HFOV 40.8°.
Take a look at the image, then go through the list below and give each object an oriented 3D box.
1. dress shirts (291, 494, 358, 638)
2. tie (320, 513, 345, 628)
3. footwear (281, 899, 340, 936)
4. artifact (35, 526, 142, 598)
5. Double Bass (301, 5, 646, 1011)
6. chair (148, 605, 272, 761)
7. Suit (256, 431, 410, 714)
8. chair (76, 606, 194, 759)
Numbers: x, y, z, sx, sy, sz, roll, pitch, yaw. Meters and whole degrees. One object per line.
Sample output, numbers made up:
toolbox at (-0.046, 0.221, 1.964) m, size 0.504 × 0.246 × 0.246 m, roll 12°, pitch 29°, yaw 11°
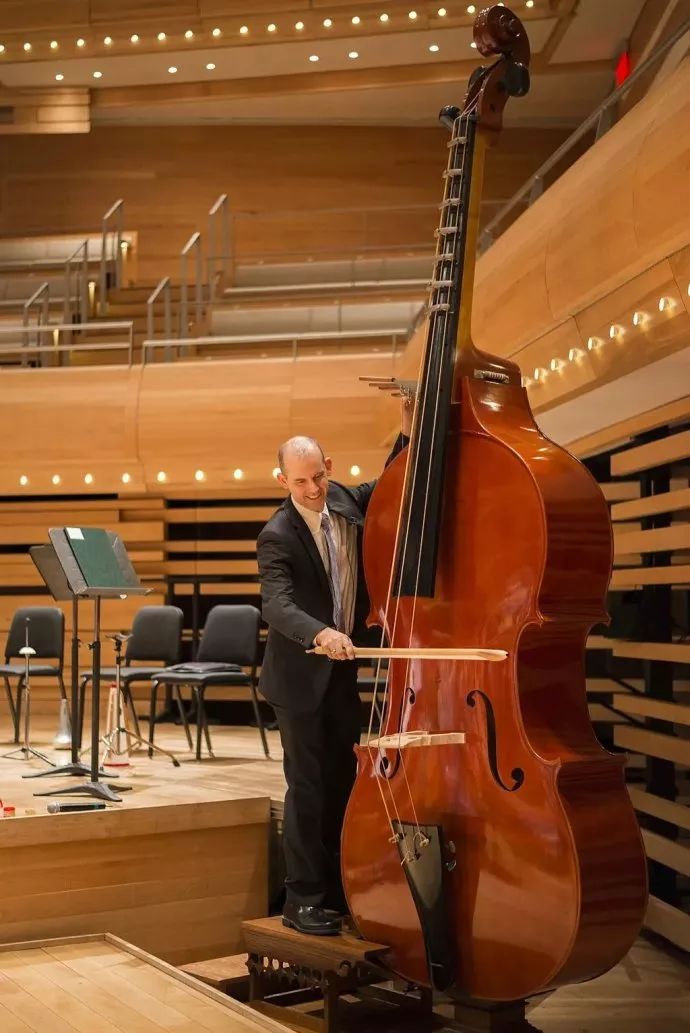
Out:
dress shirts at (-0.058, 0.133, 2.555) m, size 0.070 × 0.379 × 0.162 m, roll 5°, pitch 12°, yaw 41°
tie at (-0.033, 0.140, 2.504) m, size 0.039 × 0.352 × 0.061 m, roll -5°, pitch -7°, yaw 14°
footwear at (-0.076, 1.015, 2.356) m, size 0.072 × 0.045 × 0.127 m, roll 14°, pitch -21°, yaw -43°
artifact at (-1.051, 0.212, 3.855) m, size 0.094 × 0.334 × 0.369 m, roll -35°, pitch -12°, yaw 29°
Double Bass at (0.279, -0.073, 1.919) m, size 0.604 × 2.104 × 0.508 m, roll 0°, pitch -4°, yaw 5°
chair at (-0.757, 0.889, 5.085) m, size 0.493 × 0.819 × 0.524 m, roll -5°, pitch -8°, yaw 40°
Suit at (-0.066, 0.113, 2.429) m, size 0.389 × 0.735 × 0.199 m, roll 8°, pitch 0°, yaw 34°
chair at (-1.239, 0.974, 5.506) m, size 0.591 × 0.836 × 0.537 m, roll 1°, pitch -3°, yaw -42°
